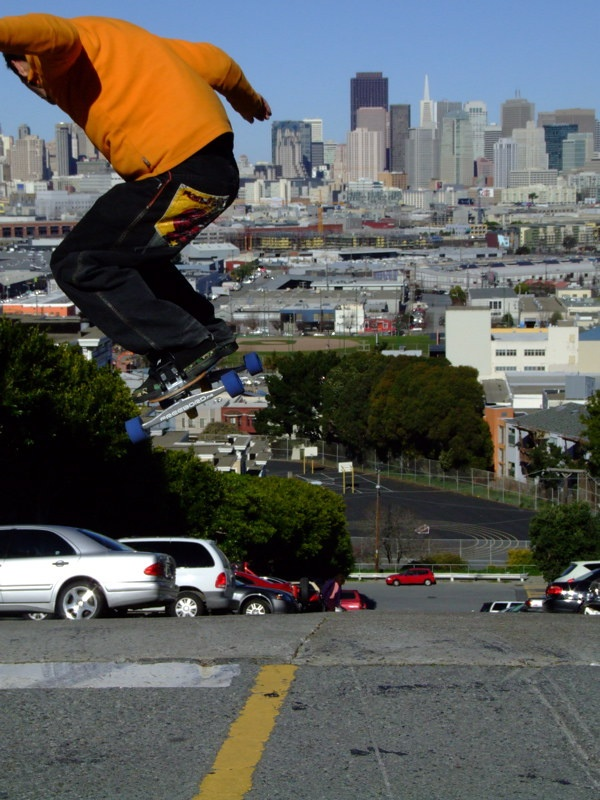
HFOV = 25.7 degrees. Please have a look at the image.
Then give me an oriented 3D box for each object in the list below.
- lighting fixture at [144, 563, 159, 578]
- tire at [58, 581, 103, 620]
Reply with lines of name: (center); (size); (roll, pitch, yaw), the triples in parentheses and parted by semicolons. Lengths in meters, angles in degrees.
lighting fixture: (-1.052, 1.178, 9.299); (0.094, 0.058, 0.131); (1, -8, -10)
tire: (-1.535, 1.357, 9.140); (0.248, 0.243, 0.087); (4, -1, 1)
